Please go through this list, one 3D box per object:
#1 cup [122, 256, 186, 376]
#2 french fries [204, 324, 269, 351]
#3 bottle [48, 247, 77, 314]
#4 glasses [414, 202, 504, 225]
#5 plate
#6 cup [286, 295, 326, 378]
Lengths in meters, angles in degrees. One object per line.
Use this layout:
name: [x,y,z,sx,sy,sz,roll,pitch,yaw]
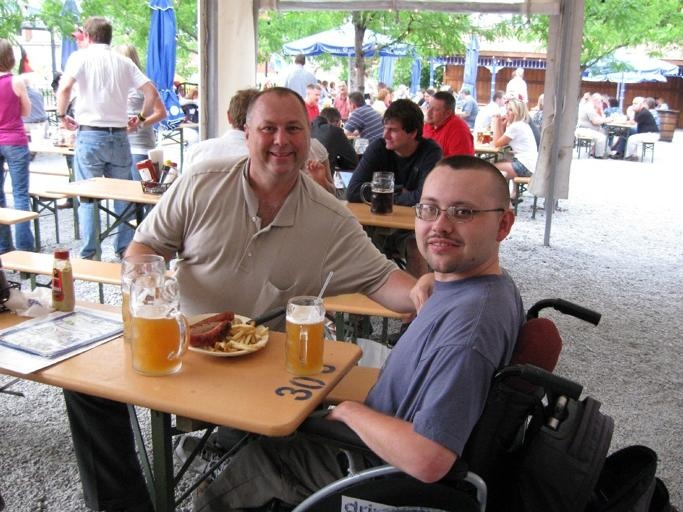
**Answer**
cup: [-0.588,0.200,1.744,0.178,0.441,0.183,3,16,-1]
french fries: [-0.356,0.276,1.861,0.112,0.035,0.113,6,25,26]
bottle: [-1.149,0.099,2.156,0.101,0.251,0.102,11,17,-3]
glasses: [0.353,-0.160,1.718,0.282,0.064,0.178,8,14,29]
plate: [-0.400,0.284,1.914,0.241,0.133,0.332,4,12,21]
cup: [-0.047,0.263,1.723,0.143,0.253,0.250,2,21,2]
